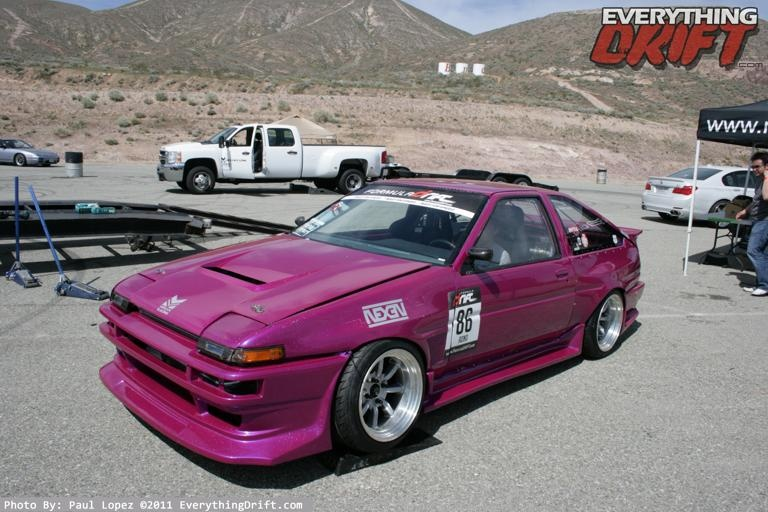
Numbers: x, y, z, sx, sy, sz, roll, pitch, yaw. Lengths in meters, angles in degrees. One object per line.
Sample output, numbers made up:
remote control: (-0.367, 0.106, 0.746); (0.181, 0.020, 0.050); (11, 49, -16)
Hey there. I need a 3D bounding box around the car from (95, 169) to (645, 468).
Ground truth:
car: (0.422, 0.264, 5.500); (5.805, 2.113, 2.412); (-10, 18, -40)
